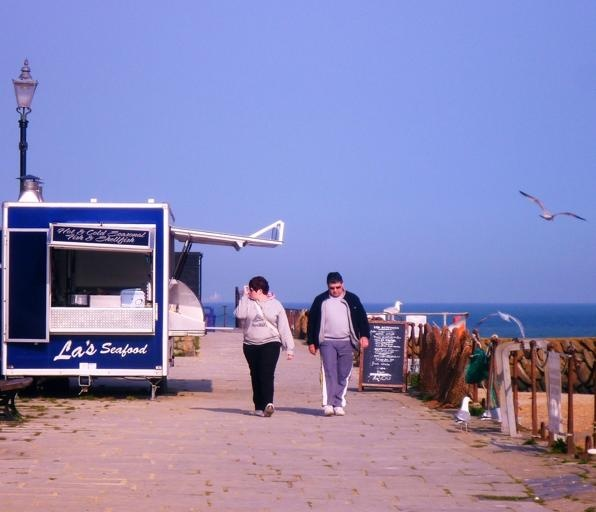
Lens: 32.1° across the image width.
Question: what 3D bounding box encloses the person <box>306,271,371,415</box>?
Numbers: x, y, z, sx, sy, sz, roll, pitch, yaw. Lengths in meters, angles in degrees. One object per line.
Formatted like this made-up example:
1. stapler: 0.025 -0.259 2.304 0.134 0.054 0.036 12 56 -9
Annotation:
1. person: 0.504 1.125 13.410 0.789 1.820 0.623 1 -1 0

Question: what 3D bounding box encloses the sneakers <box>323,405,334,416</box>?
1. sneakers: 0.381 1.959 13.210 0.121 0.121 0.127 1 -1 7

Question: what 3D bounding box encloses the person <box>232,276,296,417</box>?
1. person: -0.430 1.134 13.196 0.709 1.741 0.653 1 -1 -6

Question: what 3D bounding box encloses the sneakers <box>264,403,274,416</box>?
1. sneakers: -0.370 1.929 13.040 0.068 0.089 0.208 6 -42 1

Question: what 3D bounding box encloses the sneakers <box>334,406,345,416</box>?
1. sneakers: 0.511 1.963 13.223 0.087 0.103 0.248 0 -9 -4
